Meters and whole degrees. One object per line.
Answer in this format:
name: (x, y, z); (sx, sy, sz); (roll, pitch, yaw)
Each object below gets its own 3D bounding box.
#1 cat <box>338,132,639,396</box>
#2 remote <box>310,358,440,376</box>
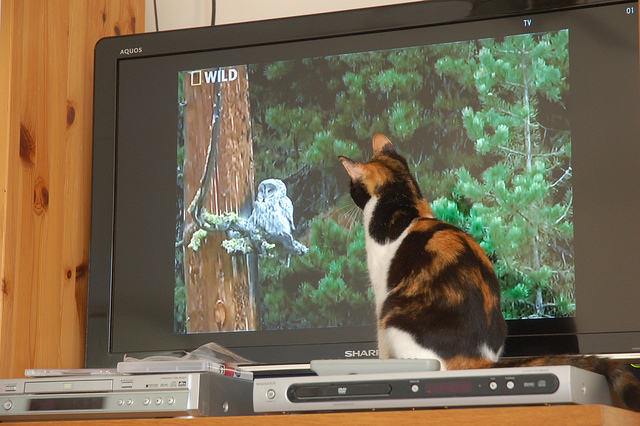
cat: (0.260, 0.081, 1.971); (0.442, 0.639, 0.180); (0, -6, 6)
remote: (0.123, 0.351, 1.685); (0.287, 0.041, 0.077); (0, -7, 11)
